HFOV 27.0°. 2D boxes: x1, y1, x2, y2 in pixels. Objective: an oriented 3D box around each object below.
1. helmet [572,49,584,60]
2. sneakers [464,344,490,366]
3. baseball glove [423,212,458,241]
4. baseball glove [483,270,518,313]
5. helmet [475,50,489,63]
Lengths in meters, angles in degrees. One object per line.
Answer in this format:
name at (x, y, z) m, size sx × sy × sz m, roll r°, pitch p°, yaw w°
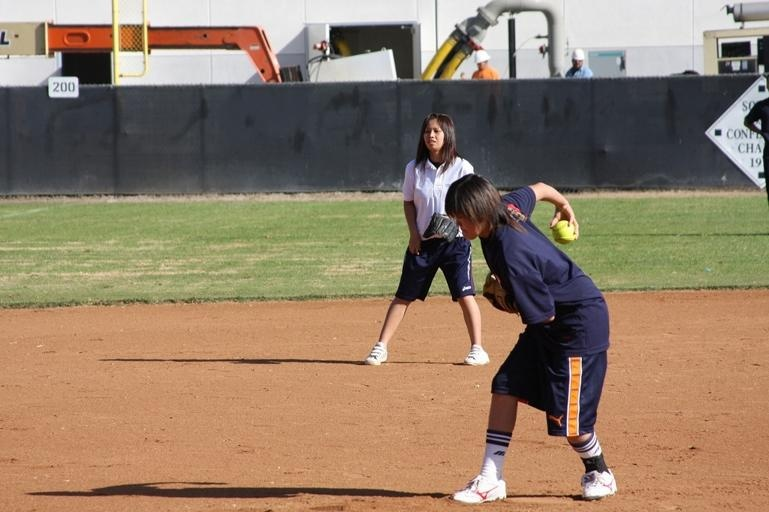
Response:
helmet at (4.720, -4.844, 38.728) m, size 0.385 × 0.316 × 0.611 m, roll 1°, pitch 8°, yaw 2°
sneakers at (1.562, 1.671, 27.137) m, size 0.213 × 0.264 × 0.515 m, roll 0°, pitch 1°, yaw 38°
baseball glove at (0.975, -0.507, 26.477) m, size 0.433 × 0.468 × 0.197 m, roll 12°, pitch 18°, yaw -3°
baseball glove at (1.829, 0.551, 25.142) m, size 0.565 × 0.655 × 0.474 m, roll 3°, pitch -15°, yaw 17°
helmet at (2.425, -4.909, 39.337) m, size 0.387 × 0.295 × 0.555 m, roll -18°, pitch 8°, yaw 2°
